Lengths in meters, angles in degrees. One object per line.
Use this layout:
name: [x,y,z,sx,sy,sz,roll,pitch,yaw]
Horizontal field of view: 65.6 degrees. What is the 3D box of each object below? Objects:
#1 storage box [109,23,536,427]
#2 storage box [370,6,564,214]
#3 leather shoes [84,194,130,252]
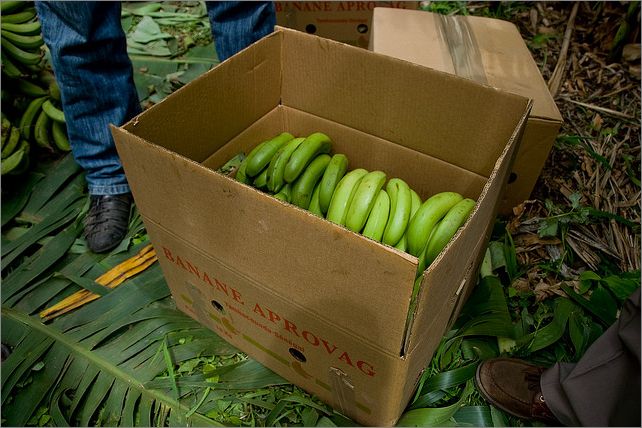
storage box: [0.014,0.002,2.550,1.513,1.399,1.211,24,43,25]
storage box: [0.743,-0.623,3.370,1.127,1.124,1.176,12,53,0]
leather shoes: [-1.322,0.056,3.101,0.175,0.171,0.434,-4,53,-4]
